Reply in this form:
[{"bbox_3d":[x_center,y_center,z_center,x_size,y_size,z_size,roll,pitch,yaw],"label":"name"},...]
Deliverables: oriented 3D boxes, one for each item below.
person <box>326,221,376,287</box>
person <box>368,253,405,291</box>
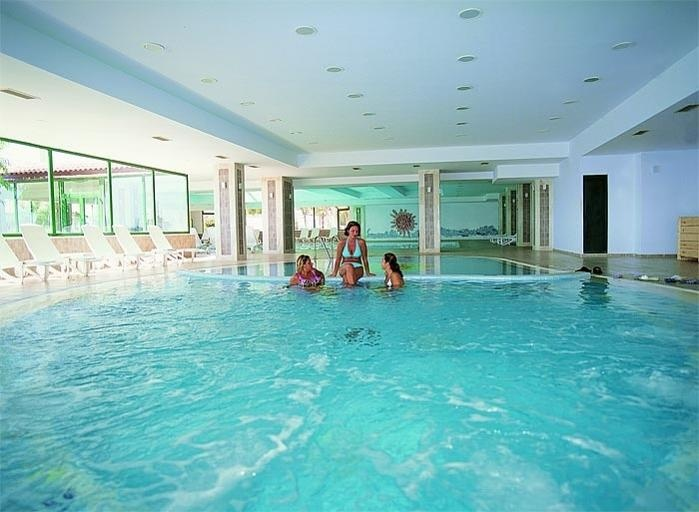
[{"bbox_3d":[0.040,0.009,7.751,0.946,1.287,0.779,3,9,15],"label":"person"},{"bbox_3d":[0.738,0.196,7.880,0.626,0.841,0.875,4,3,21],"label":"person"}]
